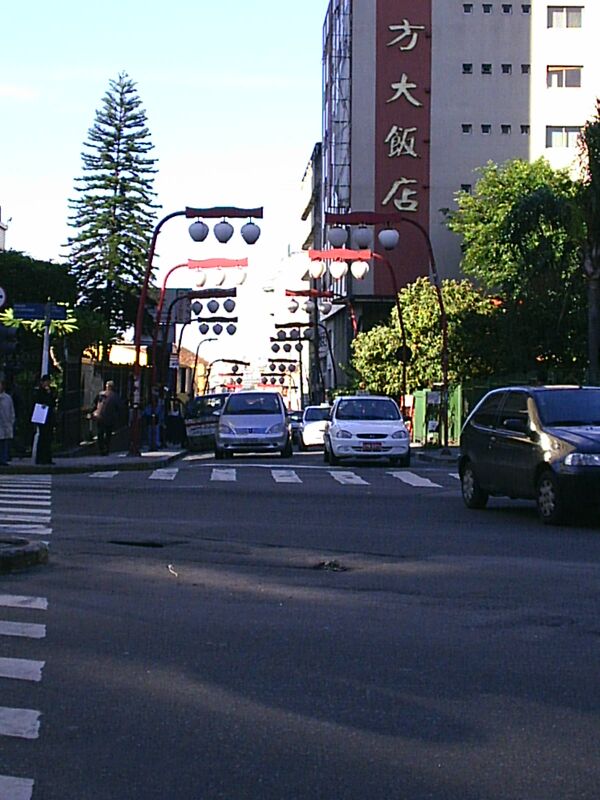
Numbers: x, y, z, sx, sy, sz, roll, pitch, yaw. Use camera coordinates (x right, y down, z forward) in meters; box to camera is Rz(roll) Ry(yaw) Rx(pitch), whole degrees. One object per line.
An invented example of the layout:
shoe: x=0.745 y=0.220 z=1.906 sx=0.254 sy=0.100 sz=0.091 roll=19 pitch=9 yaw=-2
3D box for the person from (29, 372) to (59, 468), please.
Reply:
person: x=-6.485 y=0.532 z=22.736 sx=0.541 sy=2.410 sz=0.811 roll=1 pitch=5 yaw=-8

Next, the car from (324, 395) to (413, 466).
car: x=1.957 y=0.891 z=26.059 sx=2.324 sy=2.019 sz=1.817 roll=-1 pitch=-2 yaw=4
